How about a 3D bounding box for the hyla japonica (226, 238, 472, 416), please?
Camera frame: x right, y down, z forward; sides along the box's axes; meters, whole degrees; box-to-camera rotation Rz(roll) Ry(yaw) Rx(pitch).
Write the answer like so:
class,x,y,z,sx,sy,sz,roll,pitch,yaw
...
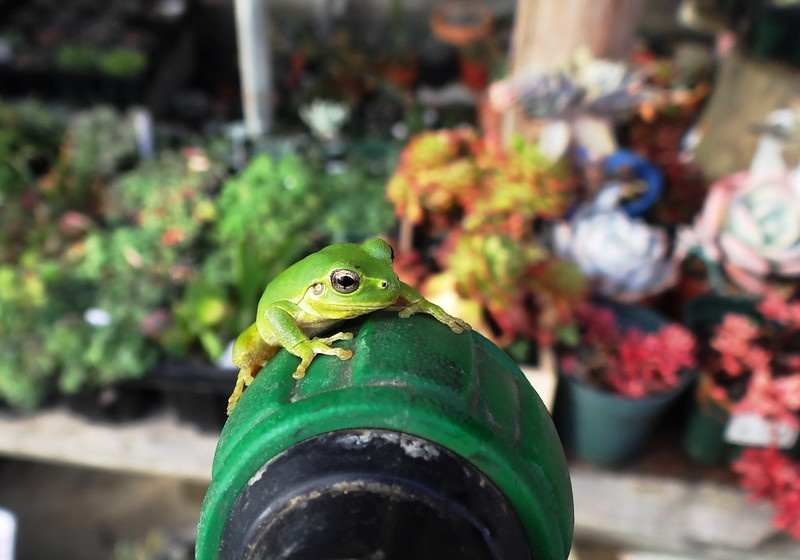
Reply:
class,x,y,z,sx,sy,sz,roll,pitch,yaw
hyla japonica,-0.162,0.085,1.775,0.620,0.286,0.323,-14,56,-11
